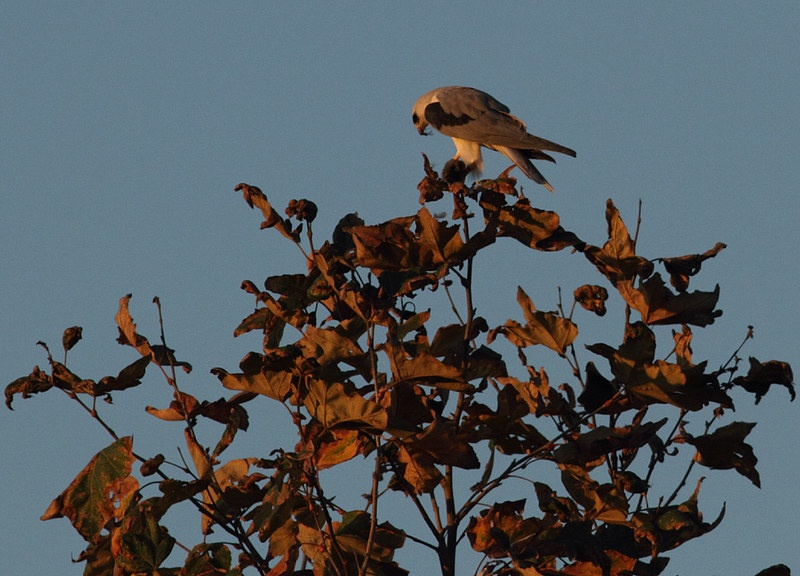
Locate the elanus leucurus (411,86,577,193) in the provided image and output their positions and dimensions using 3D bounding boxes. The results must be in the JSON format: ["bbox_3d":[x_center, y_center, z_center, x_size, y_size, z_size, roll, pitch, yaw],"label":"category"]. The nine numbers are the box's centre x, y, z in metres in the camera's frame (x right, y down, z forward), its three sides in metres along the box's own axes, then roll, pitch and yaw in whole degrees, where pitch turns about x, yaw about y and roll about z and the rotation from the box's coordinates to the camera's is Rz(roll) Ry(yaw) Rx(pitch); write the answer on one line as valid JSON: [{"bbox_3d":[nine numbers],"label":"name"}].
[{"bbox_3d":[0.307,-0.571,8.405,0.339,0.465,1.497,-3,-2,-16],"label":"elanus leucurus"}]
